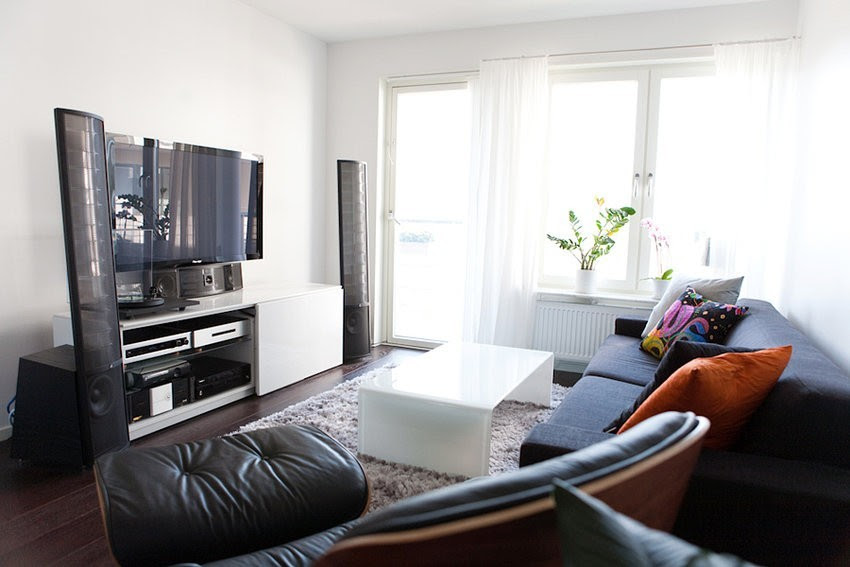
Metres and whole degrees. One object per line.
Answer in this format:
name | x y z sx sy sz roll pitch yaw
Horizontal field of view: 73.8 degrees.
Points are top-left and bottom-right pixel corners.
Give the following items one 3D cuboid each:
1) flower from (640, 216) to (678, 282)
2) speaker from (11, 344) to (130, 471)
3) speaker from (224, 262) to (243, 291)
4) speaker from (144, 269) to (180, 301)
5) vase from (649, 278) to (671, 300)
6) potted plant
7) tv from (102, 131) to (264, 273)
flower | 1.992 -0.299 4.845 0.275 0.507 0.331 5 12 22
speaker | -2.087 0.709 3.298 0.572 0.653 0.231 0 12 0
speaker | -1.520 -0.054 4.469 0.130 0.214 0.233 -1 1 7
speaker | -1.845 0.013 3.981 0.227 0.293 0.188 0 4 4
vase | 1.966 0.047 4.755 0.169 0.162 0.162 1 5 5
potted plant | 1.493 -0.387 5.254 0.835 0.826 0.855 2 10 7
tv | -1.747 -0.570 4.016 0.052 0.754 1.177 9 10 30
